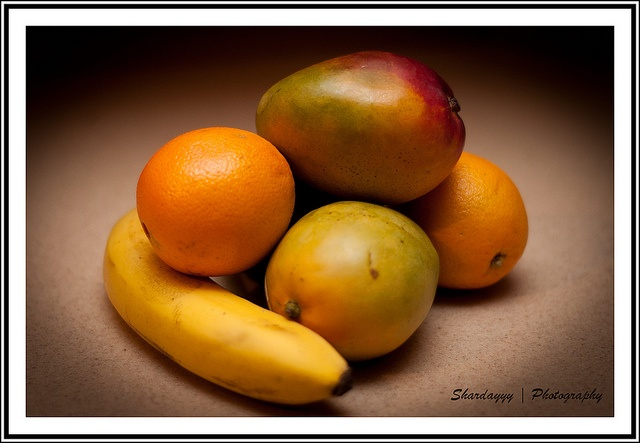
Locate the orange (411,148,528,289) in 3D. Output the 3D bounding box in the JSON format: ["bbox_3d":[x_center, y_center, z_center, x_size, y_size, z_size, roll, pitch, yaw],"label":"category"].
[{"bbox_3d":[0.393,-0.009,1.626,0.281,0.345,0.309,13,7,14],"label":"orange"}]

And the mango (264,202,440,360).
[{"bbox_3d":[0.074,0.104,1.385,0.368,0.297,0.279,-2,12,-32],"label":"mango"}]

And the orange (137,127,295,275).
[{"bbox_3d":[-0.223,-0.042,1.427,0.331,0.286,0.315,-6,21,-1],"label":"orange"}]

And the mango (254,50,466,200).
[{"bbox_3d":[0.096,-0.247,1.522,0.484,0.333,0.311,3,12,2],"label":"mango"}]
